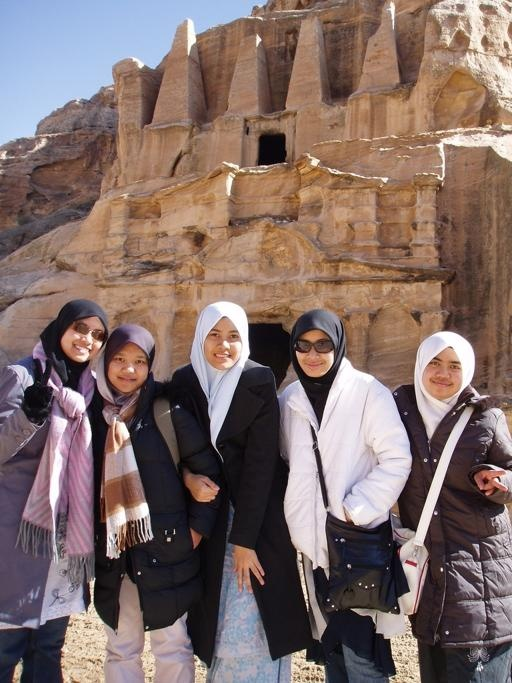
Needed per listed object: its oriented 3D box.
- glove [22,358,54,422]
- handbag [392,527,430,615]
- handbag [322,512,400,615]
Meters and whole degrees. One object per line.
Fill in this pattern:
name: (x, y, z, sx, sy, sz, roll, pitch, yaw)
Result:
glove: (-0.974, 0.224, 2.684, 0.101, 0.122, 0.312, 40, 7, -24)
handbag: (0.681, 1.021, 2.641, 0.202, 0.436, 0.357, 0, -13, 13)
handbag: (0.457, 0.980, 2.636, 0.496, 0.456, 0.208, -1, -25, 6)
